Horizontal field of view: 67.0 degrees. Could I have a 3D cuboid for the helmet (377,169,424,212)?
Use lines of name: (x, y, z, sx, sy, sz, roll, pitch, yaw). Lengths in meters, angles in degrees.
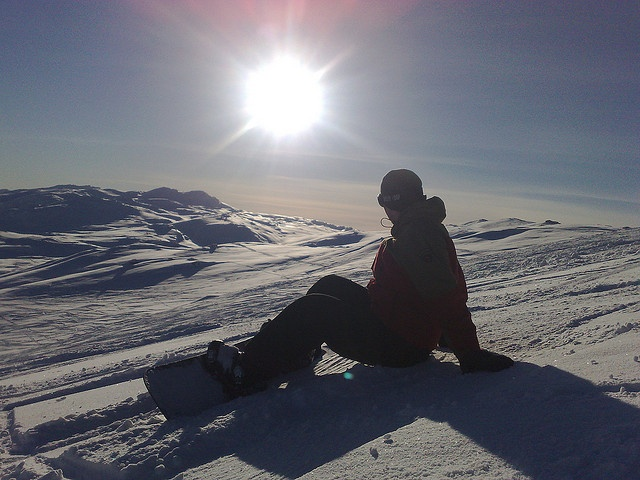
helmet: (0.765, -0.460, 4.230, 0.383, 0.327, 0.509, -12, 12, -41)
